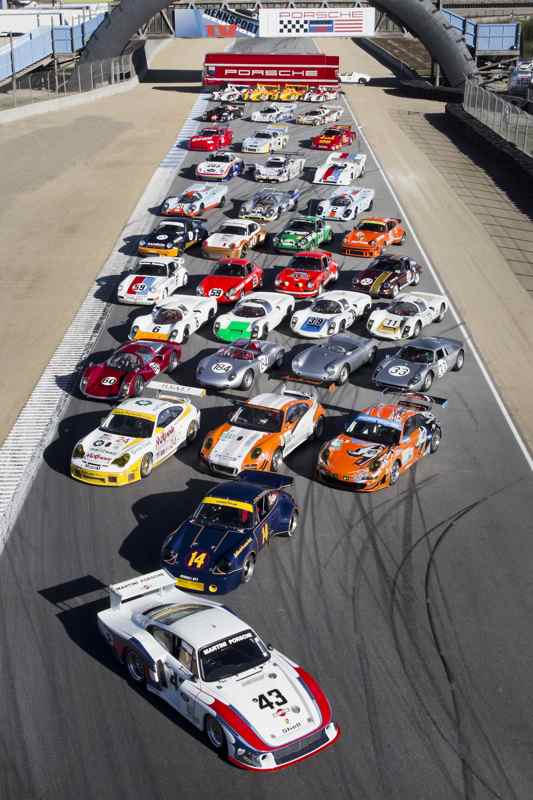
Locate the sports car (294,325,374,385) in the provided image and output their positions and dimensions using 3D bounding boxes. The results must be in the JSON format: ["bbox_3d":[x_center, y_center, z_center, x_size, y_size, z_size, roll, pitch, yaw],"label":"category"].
[{"bbox_3d":[2.537,-1.605,21.800,1.818,1.130,3.646,13,29,36],"label":"sports car"}]

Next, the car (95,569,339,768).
[{"bbox_3d":[-0.802,3.722,8.899,1.718,0.914,3.241,-19,34,-34],"label":"car"}]

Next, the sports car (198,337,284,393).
[{"bbox_3d":[-0.861,-1.267,20.872,1.441,0.878,2.839,7,23,25],"label":"sports car"}]

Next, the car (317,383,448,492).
[{"bbox_3d":[3.159,0.953,16.897,2.176,1.310,4.136,14,29,39],"label":"car"}]

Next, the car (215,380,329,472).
[{"bbox_3d":[0.008,0.667,17.576,2.259,1.359,4.352,14,27,31],"label":"car"}]

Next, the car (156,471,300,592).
[{"bbox_3d":[-0.756,2.622,13.522,2.173,1.193,3.867,9,21,22],"label":"car"}]

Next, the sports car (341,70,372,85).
[{"bbox_3d":[10.087,-35.933,70.063,3.091,0.973,1.806,1,37,1],"label":"sports car"}]

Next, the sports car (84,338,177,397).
[{"bbox_3d":[-4.314,-1.103,20.336,1.616,0.844,3.011,8,30,26],"label":"sports car"}]

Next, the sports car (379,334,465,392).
[{"bbox_3d":[5.386,-1.398,21.415,1.738,1.122,4.006,19,32,36],"label":"sports car"}]

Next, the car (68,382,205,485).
[{"bbox_3d":[-3.480,0.802,17.265,2.181,1.213,4.250,10,25,21],"label":"car"}]
